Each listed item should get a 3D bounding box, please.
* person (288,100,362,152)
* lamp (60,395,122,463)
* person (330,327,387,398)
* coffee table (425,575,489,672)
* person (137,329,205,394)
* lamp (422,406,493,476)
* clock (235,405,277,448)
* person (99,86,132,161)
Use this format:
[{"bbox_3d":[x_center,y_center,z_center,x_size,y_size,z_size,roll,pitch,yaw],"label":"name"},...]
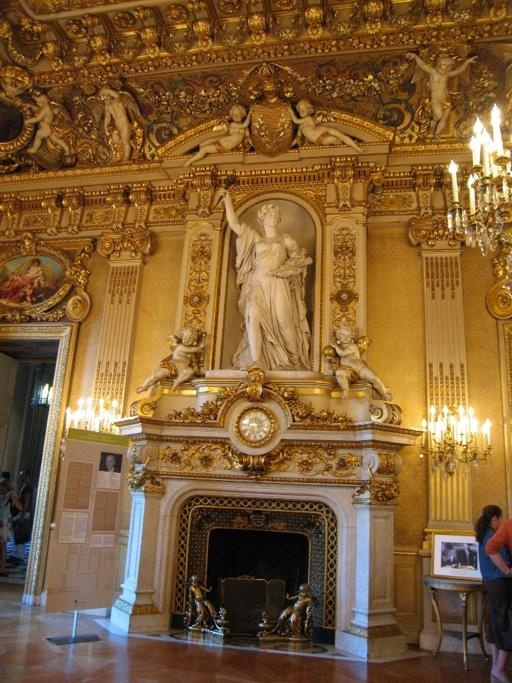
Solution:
[{"bbox_3d":[0.855,-2.702,7.790,1.118,0.247,0.494,30,-44,37],"label":"person"},{"bbox_3d":[-1.817,0.987,6.931,0.969,0.797,0.289,0,-32,6],"label":"lamp"},{"bbox_3d":[1.068,0.263,6.590,0.562,0.811,0.271,-5,-37,-7],"label":"person"},{"bbox_3d":[1.905,2.589,5.786,0.669,0.663,0.624,-14,-22,38],"label":"coffee table"},{"bbox_3d":[-0.906,0.229,7.065,0.574,1.082,0.359,8,-50,16],"label":"person"},{"bbox_3d":[2.020,1.085,6.877,0.800,0.773,0.741,6,-27,-2],"label":"lamp"},{"bbox_3d":[-0.006,0.871,6.397,0.435,0.378,0.086,-3,-14,10],"label":"clock"},{"bbox_3d":[-1.939,-2.996,8.560,0.399,0.819,0.544,3,-17,3],"label":"person"}]
